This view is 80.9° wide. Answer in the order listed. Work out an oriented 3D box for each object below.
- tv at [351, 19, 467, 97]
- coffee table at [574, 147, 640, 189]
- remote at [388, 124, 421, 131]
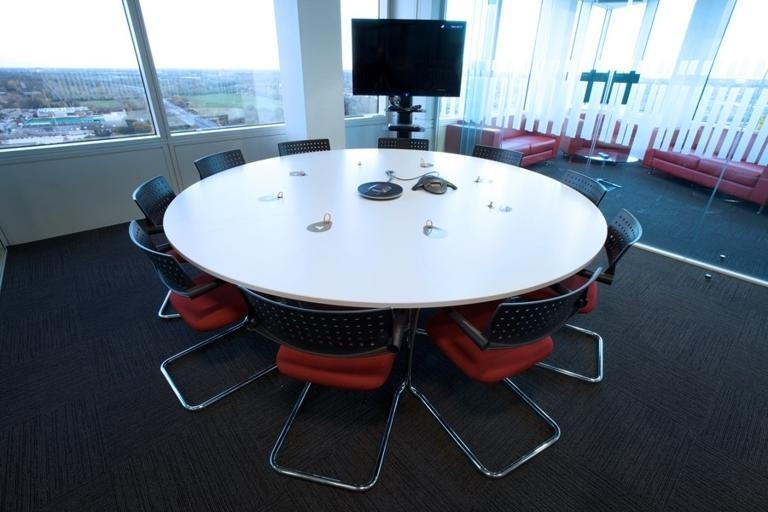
[{"bbox_3d":[0.286,-2.492,5.593,1.070,0.677,0.041,4,32,5],"label":"tv"},{"bbox_3d":[2.555,-0.966,5.300,0.608,0.386,0.619,27,49,36],"label":"coffee table"},{"bbox_3d":[0.267,-1.685,5.936,0.426,0.094,0.194,5,30,7],"label":"remote"}]
